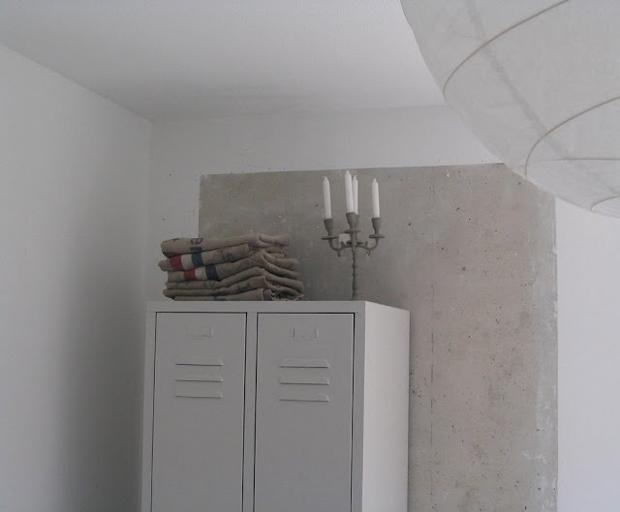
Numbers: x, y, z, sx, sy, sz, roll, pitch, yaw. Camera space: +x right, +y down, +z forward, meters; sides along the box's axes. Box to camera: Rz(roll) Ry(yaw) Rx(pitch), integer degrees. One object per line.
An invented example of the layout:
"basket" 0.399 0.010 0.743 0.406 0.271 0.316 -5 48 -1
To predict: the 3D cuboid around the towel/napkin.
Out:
"towel/napkin" -0.271 0.037 3.321 0.525 0.264 0.253 3 -9 -10
